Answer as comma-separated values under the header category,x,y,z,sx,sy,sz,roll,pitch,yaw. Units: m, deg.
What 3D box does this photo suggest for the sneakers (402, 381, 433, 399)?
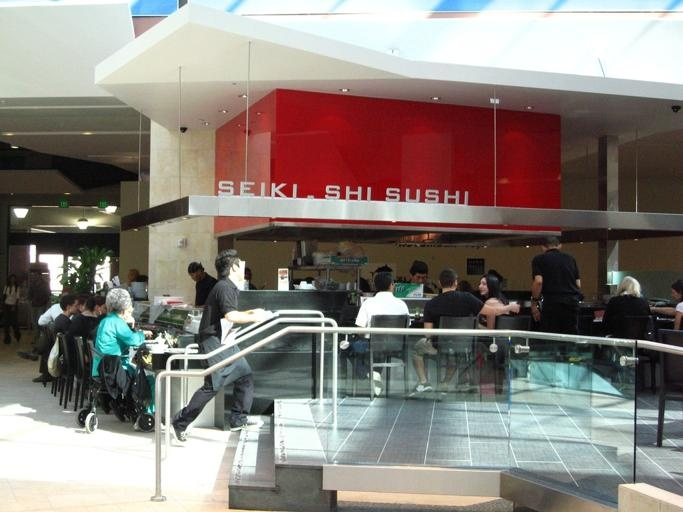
category,x,y,z,sx,sy,sz,roll,pitch,yaw
sneakers,0.606,1.063,4.981,0.230,0.109,0.088,-8,-5,23

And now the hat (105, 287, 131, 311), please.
category,x,y,z,sx,sy,sz,roll,pitch,yaw
hat,-2.427,0.460,6.879,0.197,0.266,0.261,1,4,-2

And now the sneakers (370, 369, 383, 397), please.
category,x,y,z,sx,sy,sz,roll,pitch,yaw
sneakers,0.280,0.999,4.992,0.056,0.163,0.114,3,3,-4

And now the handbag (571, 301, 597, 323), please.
category,x,y,z,sx,sy,sz,roll,pitch,yaw
handbag,3.179,0.744,8.340,0.178,0.320,0.345,-5,0,32

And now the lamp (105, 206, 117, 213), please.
category,x,y,z,sx,sy,sz,roll,pitch,yaw
lamp,-6.755,-1.371,18.645,0.274,0.261,0.066,2,1,-7

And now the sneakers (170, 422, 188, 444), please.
category,x,y,z,sx,sy,sz,roll,pitch,yaw
sneakers,-1.553,1.698,6.095,0.108,0.263,0.095,-12,4,7

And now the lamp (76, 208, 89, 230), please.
category,x,y,z,sx,sy,sz,roll,pitch,yaw
lamp,-8.424,-1.268,20.634,0.400,0.761,2.226,-1,-2,-22

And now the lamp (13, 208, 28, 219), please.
category,x,y,z,sx,sy,sz,roll,pitch,yaw
lamp,-10.250,-1.388,20.311,0.370,0.248,0.381,2,3,39

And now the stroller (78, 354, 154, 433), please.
category,x,y,z,sx,sy,sz,roll,pitch,yaw
stroller,-2.339,1.400,6.858,0.874,1.051,0.789,-3,3,-26

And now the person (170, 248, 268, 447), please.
category,x,y,z,sx,sy,sz,roll,pitch,yaw
person,-1.151,0.864,6.179,0.790,1.847,0.935,-2,-2,23
